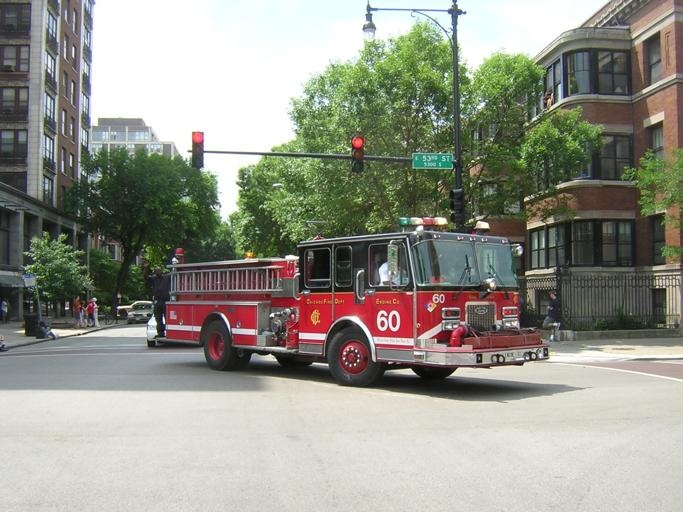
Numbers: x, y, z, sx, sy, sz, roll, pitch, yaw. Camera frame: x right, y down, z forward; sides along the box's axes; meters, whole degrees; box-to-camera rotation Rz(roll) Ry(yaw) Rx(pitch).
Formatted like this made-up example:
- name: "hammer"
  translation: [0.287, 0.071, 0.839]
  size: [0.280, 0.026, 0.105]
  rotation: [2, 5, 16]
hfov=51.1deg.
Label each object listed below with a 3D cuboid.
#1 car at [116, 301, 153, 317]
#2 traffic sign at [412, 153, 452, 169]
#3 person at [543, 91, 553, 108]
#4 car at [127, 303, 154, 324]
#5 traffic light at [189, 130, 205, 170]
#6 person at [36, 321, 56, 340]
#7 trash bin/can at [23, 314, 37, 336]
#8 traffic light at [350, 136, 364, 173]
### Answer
- name: "car"
  translation: [-15.516, 3.959, 53.507]
  size: [1.395, 1.200, 3.228]
  rotation: [3, -11, -30]
- name: "traffic sign"
  translation: [2.786, -2.902, 21.643]
  size: [1.403, 0.433, 0.834]
  rotation: [-1, 3, -4]
- name: "person"
  translation: [9.963, -7.437, 34.168]
  size: [0.353, 0.874, 0.791]
  rotation: [0, 4, 8]
- name: "car"
  translation: [-13.403, 3.827, 47.733]
  size: [1.487, 1.335, 3.748]
  rotation: [1, -10, -17]
- name: "traffic light"
  translation: [-4.114, -3.031, 20.421]
  size: [0.302, 0.975, 0.349]
  rotation: [-2, 5, -20]
- name: "person"
  translation: [-12.956, 3.207, 31.286]
  size: [0.692, 0.651, 1.359]
  rotation: [-3, 4, -25]
- name: "trash bin/can"
  translation: [-13.911, 3.124, 32.015]
  size: [0.509, 0.952, 1.652]
  rotation: [-3, 4, -24]
- name: "traffic light"
  translation: [0.491, -3.040, 21.240]
  size: [0.357, 1.078, 1.076]
  rotation: [-1, 4, 1]
